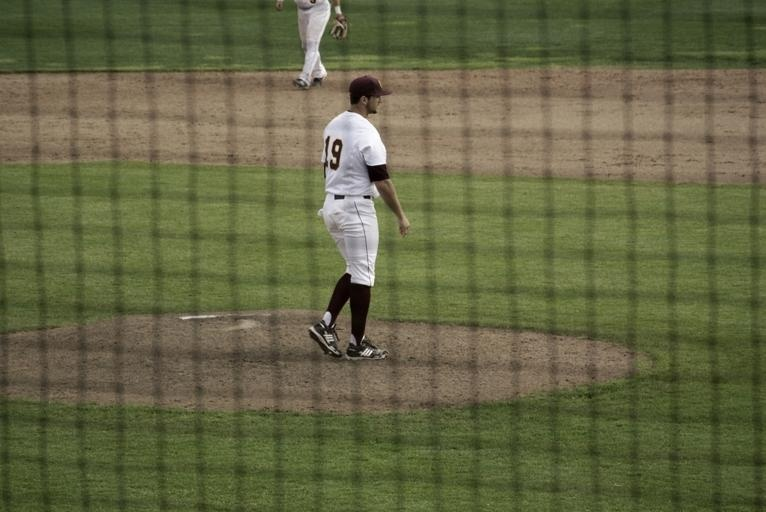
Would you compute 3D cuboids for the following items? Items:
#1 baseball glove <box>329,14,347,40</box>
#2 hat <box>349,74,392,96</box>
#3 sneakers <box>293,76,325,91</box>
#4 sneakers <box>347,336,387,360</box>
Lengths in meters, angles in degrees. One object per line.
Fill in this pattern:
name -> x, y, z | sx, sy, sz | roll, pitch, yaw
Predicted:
baseball glove -> -0.712, -3.023, 20.412 | 0.169, 0.265, 0.273 | -11, -44, 27
hat -> -0.166, -1.778, 15.815 | 0.382, 0.121, 0.221 | -5, 20, -13
sneakers -> -1.080, -2.378, 20.889 | 0.160, 0.171, 0.466 | 11, 5, 33
sneakers -> -0.132, 0.997, 16.071 | 0.565, 0.208, 0.174 | -1, 14, -8
